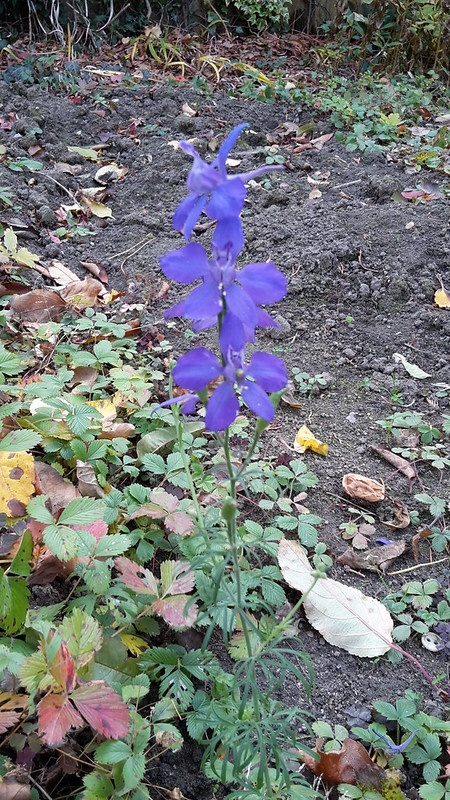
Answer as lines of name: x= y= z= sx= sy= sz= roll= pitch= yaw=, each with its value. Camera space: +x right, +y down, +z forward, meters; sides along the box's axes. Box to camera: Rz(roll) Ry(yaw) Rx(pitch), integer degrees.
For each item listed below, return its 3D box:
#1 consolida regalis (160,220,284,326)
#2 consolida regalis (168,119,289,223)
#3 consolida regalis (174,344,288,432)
consolida regalis: x=0.003 y=-0.207 z=1.064 sx=0.184 sy=0.200 sz=0.075 roll=-18 pitch=42 yaw=7
consolida regalis: x=-0.007 y=-0.375 z=1.094 sx=0.153 sy=0.191 sz=0.269 roll=2 pitch=18 yaw=-11
consolida regalis: x=0.016 y=-0.027 z=1.104 sx=0.160 sy=0.131 sz=0.169 roll=13 pitch=19 yaw=22
